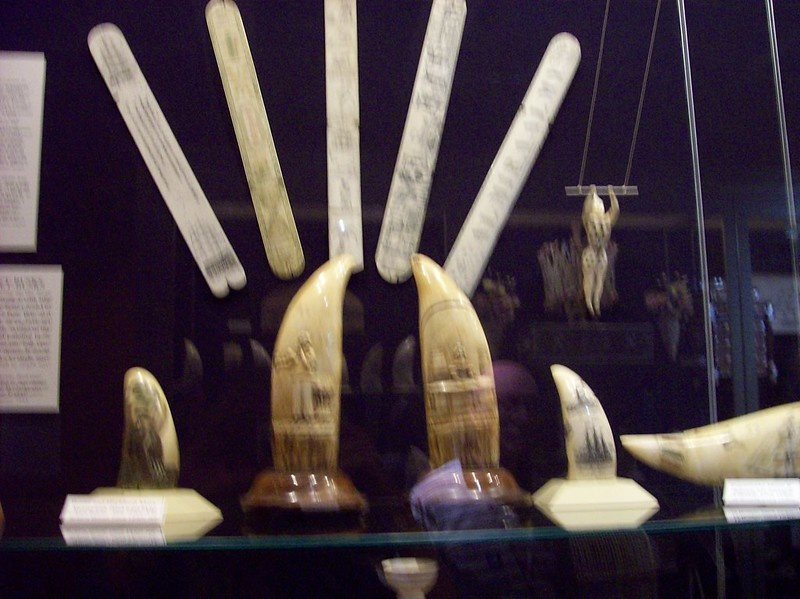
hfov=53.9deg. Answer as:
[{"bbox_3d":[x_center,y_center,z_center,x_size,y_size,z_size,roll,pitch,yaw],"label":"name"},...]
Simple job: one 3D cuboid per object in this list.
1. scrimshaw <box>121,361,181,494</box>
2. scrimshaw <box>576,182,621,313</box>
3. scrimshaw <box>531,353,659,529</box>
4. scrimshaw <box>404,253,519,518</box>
[{"bbox_3d":[-0.493,0.230,1.553,0.097,0.298,0.112,0,33,-19],"label":"scrimshaw"},{"bbox_3d":[0.449,-0.112,1.748,0.094,0.294,0.051,-1,-5,3],"label":"scrimshaw"},{"bbox_3d":[0.383,0.297,1.567,0.194,0.340,0.151,-4,-16,6],"label":"scrimshaw"},{"bbox_3d":[0.125,0.156,1.557,0.217,0.516,0.130,-1,-5,-1],"label":"scrimshaw"}]
